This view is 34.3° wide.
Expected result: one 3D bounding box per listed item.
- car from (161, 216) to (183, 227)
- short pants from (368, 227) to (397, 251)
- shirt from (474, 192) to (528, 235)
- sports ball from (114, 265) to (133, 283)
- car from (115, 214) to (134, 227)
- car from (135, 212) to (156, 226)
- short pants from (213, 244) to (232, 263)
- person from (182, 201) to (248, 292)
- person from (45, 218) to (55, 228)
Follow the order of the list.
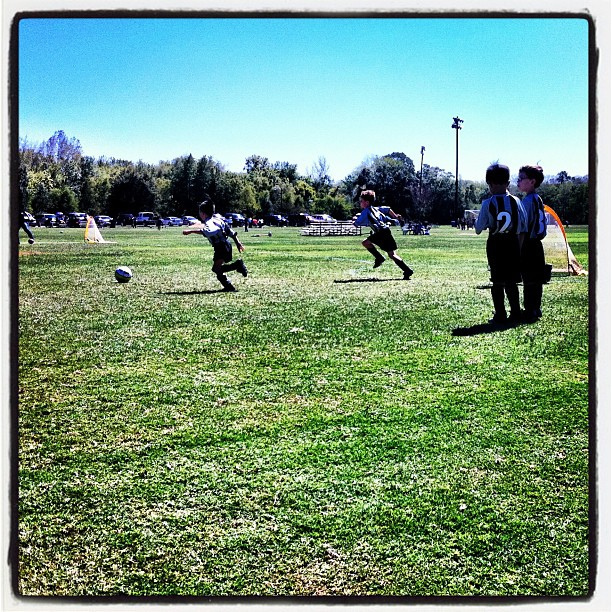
[{"bbox_3d":[-9.968,-6.391,74.913,1.688,0.658,1.473,-12,17,-40],"label":"car"},{"bbox_3d":[1.045,-0.906,13.641,0.353,0.349,0.397,0,13,4],"label":"short pants"},{"bbox_3d":[1.900,-0.874,9.606,0.527,0.473,0.322,-7,16,1],"label":"shirt"},{"bbox_3d":[-2.763,-0.469,15.010,0.228,0.252,0.253,7,49,-5],"label":"sports ball"},{"bbox_3d":[-13.671,-6.440,74.855,1.249,0.882,3.201,-4,14,-13],"label":"car"},{"bbox_3d":[-12.097,-6.555,74.637,0.941,0.916,1.826,-5,15,-33],"label":"car"},{"bbox_3d":[-1.029,-0.638,12.315,0.210,0.268,0.320,-3,13,-8],"label":"short pants"},{"bbox_3d":[-1.072,-0.639,12.492,0.615,1.355,2.356,-2,13,-3],"label":"person"},{"bbox_3d":[-16.546,-5.327,64.074,0.223,0.982,0.934,-5,-1,31],"label":"person"}]
